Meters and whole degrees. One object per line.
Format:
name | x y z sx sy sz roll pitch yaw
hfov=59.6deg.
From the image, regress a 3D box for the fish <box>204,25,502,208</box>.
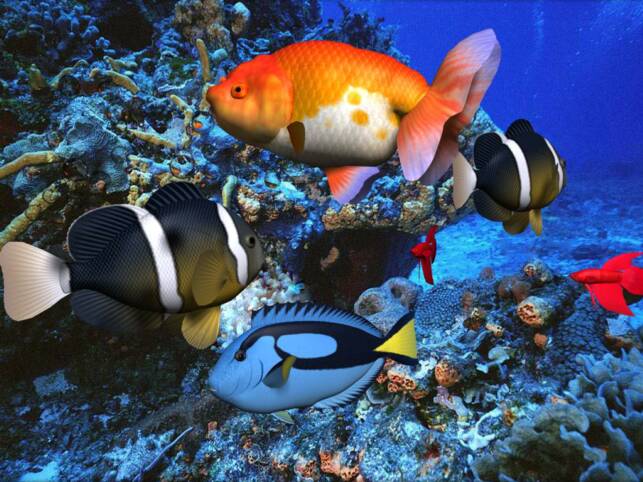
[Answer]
fish | 0.184 -0.847 3.597 1.807 0.646 0.716 -1 61 -3
